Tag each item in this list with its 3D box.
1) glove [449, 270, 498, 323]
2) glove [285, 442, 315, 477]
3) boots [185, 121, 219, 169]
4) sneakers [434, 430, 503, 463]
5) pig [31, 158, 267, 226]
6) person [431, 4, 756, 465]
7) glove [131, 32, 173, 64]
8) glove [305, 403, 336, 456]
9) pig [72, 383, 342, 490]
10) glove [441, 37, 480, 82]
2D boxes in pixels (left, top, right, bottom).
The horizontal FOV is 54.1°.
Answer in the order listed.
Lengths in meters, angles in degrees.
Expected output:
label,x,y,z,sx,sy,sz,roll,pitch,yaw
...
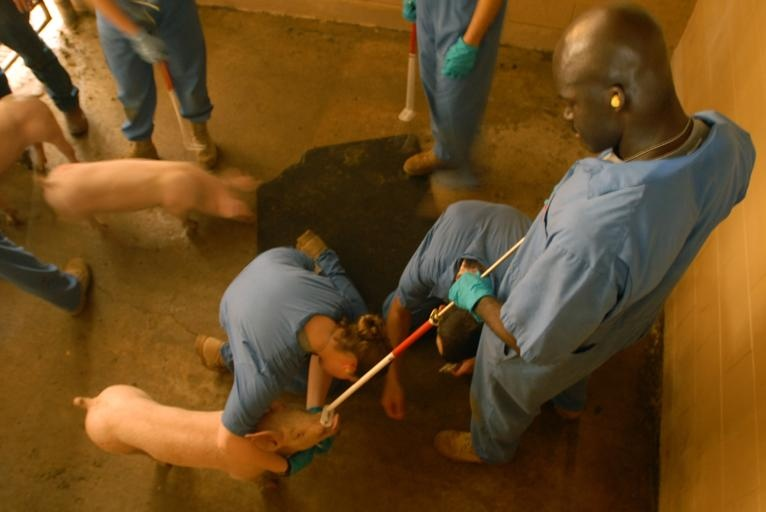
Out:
label,x,y,z,sx,sy,sz,roll,pitch,yaw
glove,0.460,0.165,4.009,0.100,0.262,0.217,-29,80,-26
glove,-0.500,1.206,4.494,0.177,0.174,0.063,-14,38,-28
boots,-1.315,-0.786,5.388,0.131,0.387,0.272,-18,13,10
sneakers,0.503,1.191,4.694,0.329,0.161,0.112,8,-2,9
pig,-1.580,-0.404,4.928,0.931,0.236,0.462,-2,3,-19
person,1.046,0.125,4.037,1.421,2.631,0.879,-32,49,-26
glove,-1.445,-1.290,4.613,0.198,0.216,0.175,-18,45,-14
glove,-0.362,1.061,4.548,0.079,0.264,0.260,11,8,-25
pig,-1.063,1.135,4.497,1.496,0.734,0.357,2,44,6
glove,0.472,-1.188,4.550,0.179,0.226,0.099,25,30,0
